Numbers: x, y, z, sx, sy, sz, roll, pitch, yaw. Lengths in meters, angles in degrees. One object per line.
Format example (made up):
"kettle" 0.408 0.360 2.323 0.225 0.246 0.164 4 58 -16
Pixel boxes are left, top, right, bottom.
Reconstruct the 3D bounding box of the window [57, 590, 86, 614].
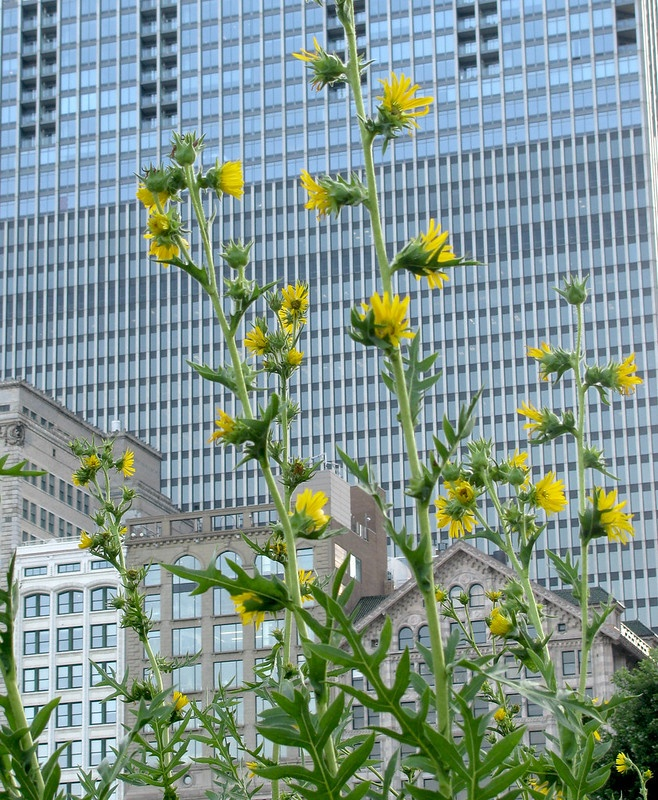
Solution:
"window" -14.149 11.166 155.456 1.196 0.124 1.154 -7 63 14

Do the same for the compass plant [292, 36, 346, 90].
"compass plant" -0.108 -10.345 86.987 0.736 1.541 1.648 8 86 22

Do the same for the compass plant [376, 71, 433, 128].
"compass plant" 2.301 -9.357 86.269 1.491 1.675 0.747 13 26 10

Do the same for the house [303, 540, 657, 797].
"house" 9.147 10.939 142.733 12.383 13.520 8.833 -6 69 18

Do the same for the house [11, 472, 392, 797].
"house" -5.429 10.284 118.886 15.334 7.838 16.835 -10 63 18

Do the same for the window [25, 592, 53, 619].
"window" -16.063 11.350 156.230 1.291 0.128 1.097 -9 74 34

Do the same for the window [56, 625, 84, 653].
"window" -14.194 13.195 154.895 1.335 0.137 1.243 -8 66 21

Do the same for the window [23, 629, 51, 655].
"window" -16.105 13.431 155.671 1.145 0.197 1.211 -10 61 13

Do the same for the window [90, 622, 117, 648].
"window" -12.341 12.929 154.356 1.441 0.170 1.325 -4 62 4
